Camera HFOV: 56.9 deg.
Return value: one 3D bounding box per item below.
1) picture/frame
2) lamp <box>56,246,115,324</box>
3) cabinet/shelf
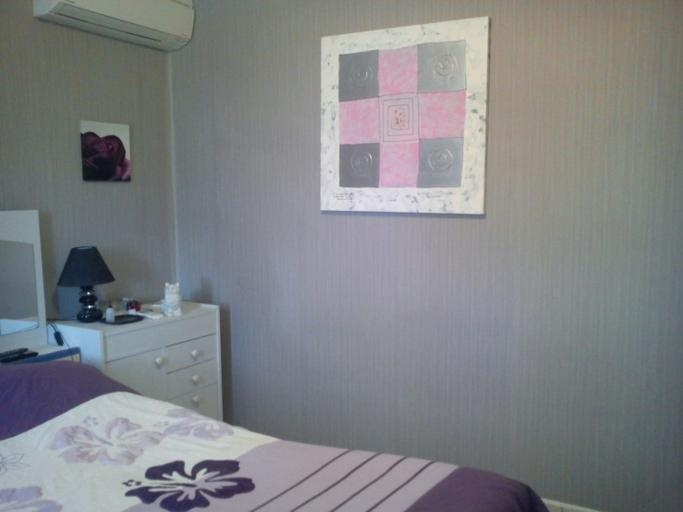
[{"bbox_3d":[0.389,-0.785,3.477,1.093,1.131,0.044,2,3,26],"label":"picture/frame"},{"bbox_3d":[-1.499,0.154,3.614,0.292,0.418,0.195,0,9,13],"label":"lamp"},{"bbox_3d":[-1.200,0.477,3.933,0.597,1.005,1.018,3,8,29],"label":"cabinet/shelf"}]
